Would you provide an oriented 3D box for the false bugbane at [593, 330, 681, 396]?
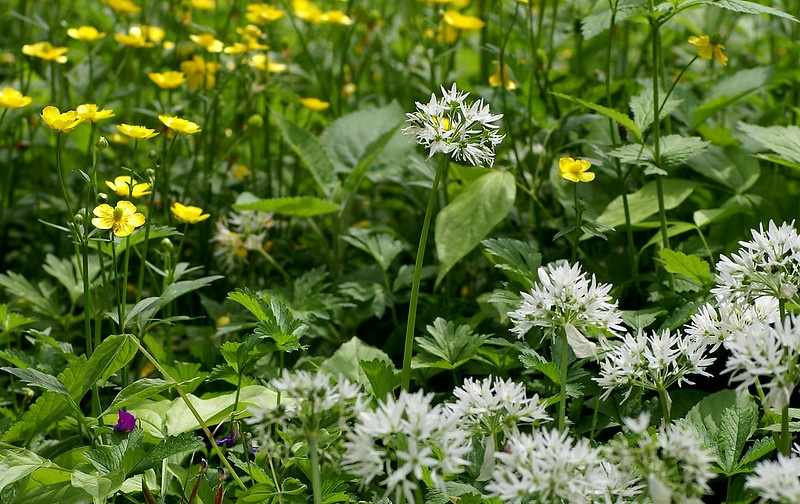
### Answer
[{"bbox_3d":[0.775,0.357,2.653,0.225,0.162,0.240,-19,23,14],"label":"false bugbane"}]

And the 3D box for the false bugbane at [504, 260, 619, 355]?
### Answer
[{"bbox_3d":[0.522,0.187,2.719,0.362,0.333,0.305,0,9,-5],"label":"false bugbane"}]

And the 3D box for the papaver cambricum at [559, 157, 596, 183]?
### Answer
[{"bbox_3d":[0.638,-0.299,2.980,0.116,0.093,0.184,2,9,11],"label":"papaver cambricum"}]

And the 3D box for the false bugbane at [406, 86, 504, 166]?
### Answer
[{"bbox_3d":[0.217,-0.446,2.867,0.306,0.300,0.494,3,9,15],"label":"false bugbane"}]

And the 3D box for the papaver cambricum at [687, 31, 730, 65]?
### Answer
[{"bbox_3d":[1.148,-0.763,2.973,0.143,0.067,0.135,6,-5,11],"label":"papaver cambricum"}]
